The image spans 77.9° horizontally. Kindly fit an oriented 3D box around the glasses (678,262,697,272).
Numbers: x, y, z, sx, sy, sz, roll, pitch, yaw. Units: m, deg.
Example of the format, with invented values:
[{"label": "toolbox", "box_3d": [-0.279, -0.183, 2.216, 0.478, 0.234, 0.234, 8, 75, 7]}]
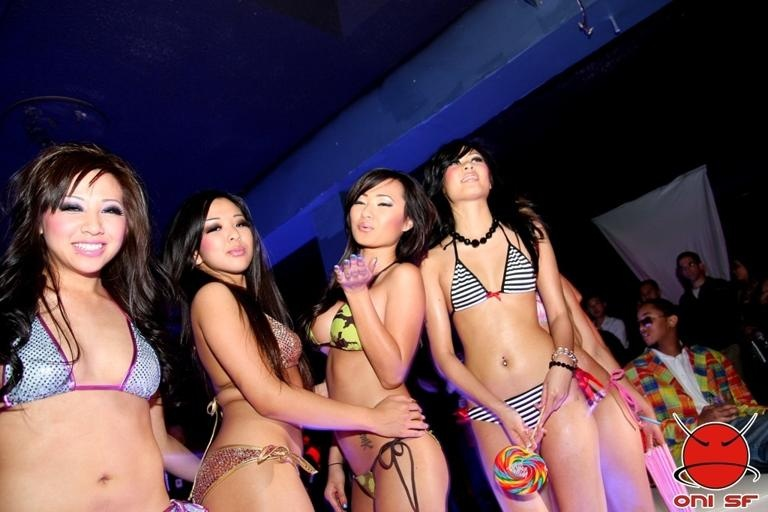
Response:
[{"label": "glasses", "box_3d": [4.358, 0.149, 6.820, 0.147, 0.054, 0.153, -8, -31, 9]}]
